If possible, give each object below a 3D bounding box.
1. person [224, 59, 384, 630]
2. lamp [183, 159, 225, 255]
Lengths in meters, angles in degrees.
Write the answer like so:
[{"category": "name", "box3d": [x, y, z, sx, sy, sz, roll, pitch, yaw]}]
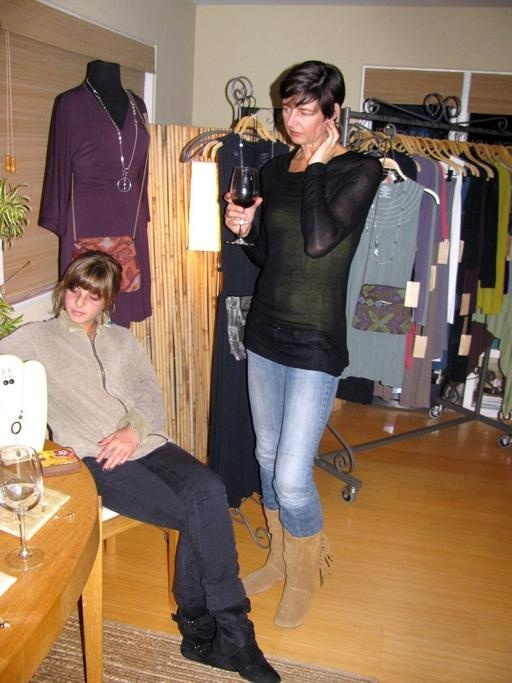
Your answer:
[{"category": "person", "box3d": [0.121, 0.105, 1.598, 0.281, 1.705, 0.393, -1, 13, -22]}, {"category": "lamp", "box3d": [-0.192, -0.505, 1.956, 0.117, 0.318, 0.093, 3, 12, -2]}]
